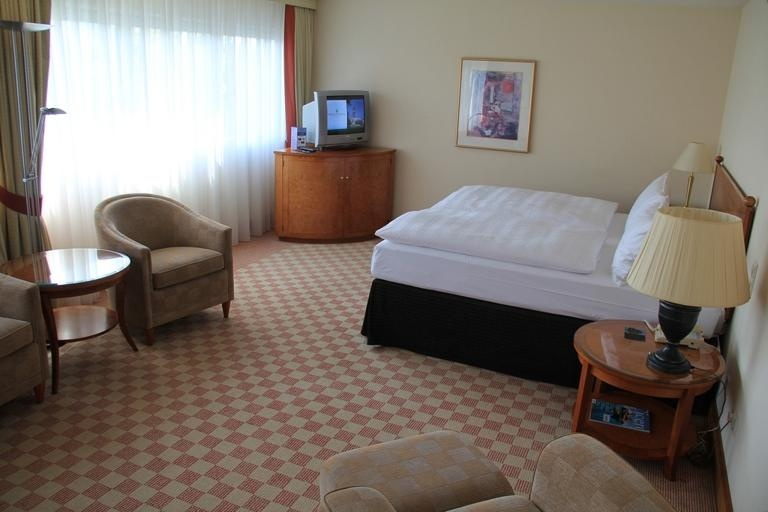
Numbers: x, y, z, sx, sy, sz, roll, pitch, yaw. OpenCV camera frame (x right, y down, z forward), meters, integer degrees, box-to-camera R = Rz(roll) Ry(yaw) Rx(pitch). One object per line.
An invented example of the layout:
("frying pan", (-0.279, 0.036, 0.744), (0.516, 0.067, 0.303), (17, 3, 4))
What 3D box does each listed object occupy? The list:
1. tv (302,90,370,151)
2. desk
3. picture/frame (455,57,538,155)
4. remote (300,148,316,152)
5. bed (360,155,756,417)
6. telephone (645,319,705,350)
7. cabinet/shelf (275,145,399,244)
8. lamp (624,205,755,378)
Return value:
("tv", (-0.849, -1.933, 7.578), (1.002, 0.800, 0.831), (12, 25, 32))
("desk", (1.845, 1.030, 3.922), (0.983, 0.822, 0.926), (1, 15, 5))
("picture/frame", (1.526, -1.999, 7.038), (1.210, 1.302, 0.069), (10, 20, 23))
("remote", (-1.007, -1.410, 7.204), (0.230, 0.022, 0.220), (-12, 25, -31))
("bed", (1.129, 0.504, 4.929), (2.374, 1.345, 2.331), (14, 20, 10))
("telephone", (2.050, 0.575, 3.791), (0.273, 0.114, 0.246), (-7, 13, -18))
("cabinet/shelf", (-0.666, -0.832, 7.535), (1.785, 1.204, 0.662), (-6, 19, -26))
("lamp", (1.959, 0.256, 3.512), (0.707, 0.959, 0.680), (8, 13, 19))
